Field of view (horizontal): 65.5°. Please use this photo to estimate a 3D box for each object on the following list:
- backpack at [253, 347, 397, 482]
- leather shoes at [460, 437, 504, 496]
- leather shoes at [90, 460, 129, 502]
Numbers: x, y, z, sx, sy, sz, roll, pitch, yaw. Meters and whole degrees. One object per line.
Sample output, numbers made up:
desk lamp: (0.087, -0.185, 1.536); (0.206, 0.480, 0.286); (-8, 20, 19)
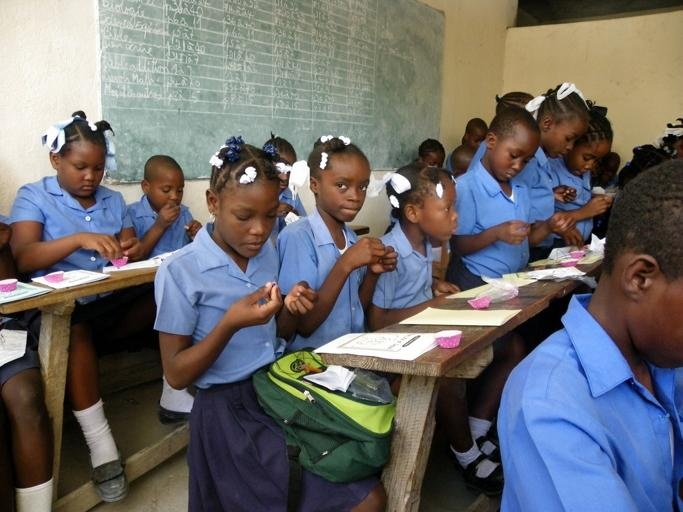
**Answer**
backpack: (-0.051, 0.450, 1.758); (0.476, 0.175, 0.393); (17, 20, 26)
leather shoes: (0.574, 0.873, 2.206); (0.105, 0.127, 0.275); (-13, 2, -33)
leather shoes: (-0.876, 0.838, 2.043); (0.131, 0.079, 0.225); (-10, 20, -21)
